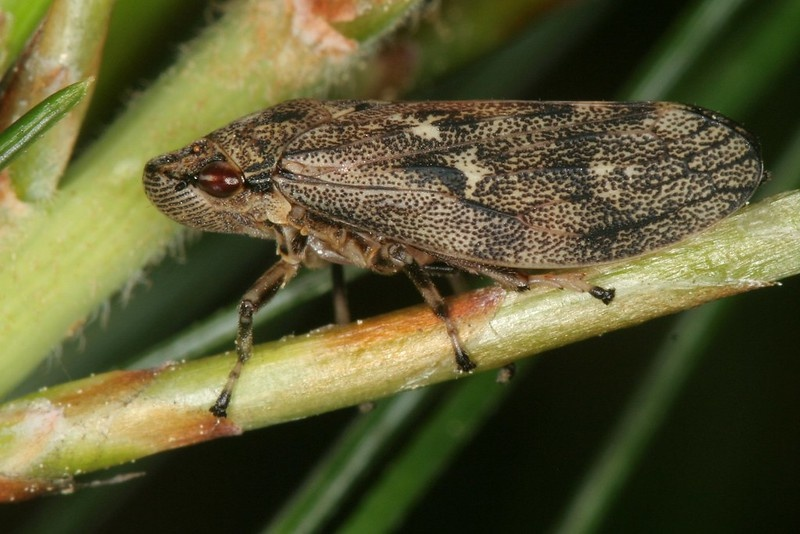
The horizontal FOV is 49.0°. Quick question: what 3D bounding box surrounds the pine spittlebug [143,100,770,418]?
[{"bbox_3d":[0.245,-0.289,4.236,3.096,0.975,0.970,-4,21,-1],"label":"pine spittlebug"}]
